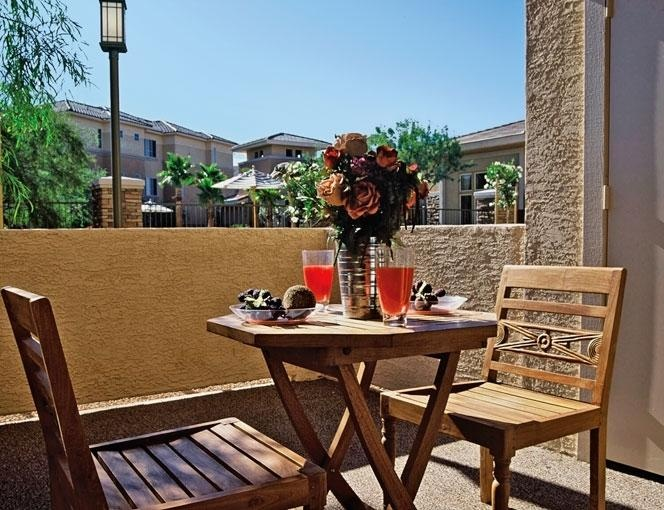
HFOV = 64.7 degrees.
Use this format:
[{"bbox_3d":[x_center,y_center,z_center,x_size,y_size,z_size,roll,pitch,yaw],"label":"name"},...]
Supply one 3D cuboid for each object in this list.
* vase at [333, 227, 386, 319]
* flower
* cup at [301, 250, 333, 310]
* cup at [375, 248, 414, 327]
[{"bbox_3d":[0.100,0.096,1.979,0.189,0.296,0.204,-3,-11,-3],"label":"vase"},{"bbox_3d":[0.124,-0.063,1.958,0.411,0.508,0.361,7,-3,-11],"label":"flower"},{"bbox_3d":[-0.048,0.081,2.015,0.161,0.275,0.169,0,1,0],"label":"cup"},{"bbox_3d":[0.205,0.094,1.710,0.125,0.252,0.090,-1,4,7],"label":"cup"}]
